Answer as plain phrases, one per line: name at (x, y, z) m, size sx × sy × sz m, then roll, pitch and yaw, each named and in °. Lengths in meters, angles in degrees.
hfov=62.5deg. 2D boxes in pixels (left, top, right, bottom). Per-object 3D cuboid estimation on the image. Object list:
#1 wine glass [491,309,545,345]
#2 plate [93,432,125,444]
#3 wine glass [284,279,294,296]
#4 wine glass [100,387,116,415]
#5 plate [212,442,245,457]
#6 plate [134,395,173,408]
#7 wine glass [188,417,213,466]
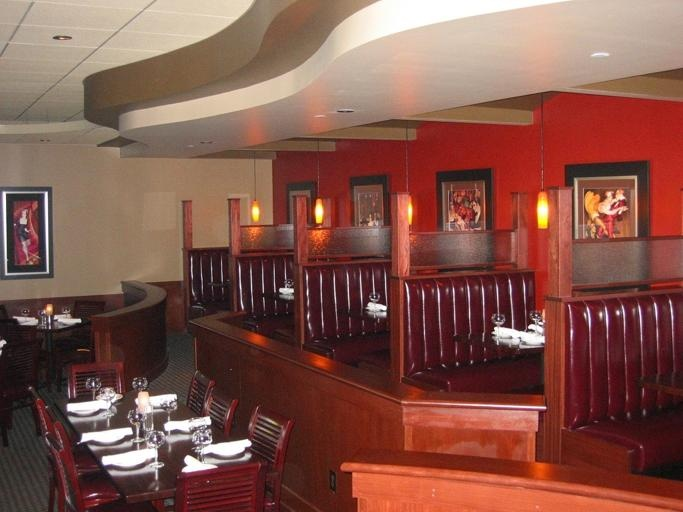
wine glass at (1.521, 0.594, 4.680) m, size 0.383 × 0.152 × 0.272 m, roll 0°, pitch 2°, yaw -34°
plate at (-1.522, 1.206, 3.737) m, size 0.167 × 0.039 × 0.154 m, roll -2°, pitch 3°, yaw 7°
wine glass at (-0.665, 0.438, 7.553) m, size 0.154 × 0.215 × 0.221 m, roll 0°, pitch 1°, yaw -24°
wine glass at (-1.744, 1.092, 4.238) m, size 0.104 × 0.183 × 0.233 m, roll -4°, pitch 3°, yaw -24°
plate at (-0.677, 1.186, 3.464) m, size 0.218 × 0.047 × 0.171 m, roll -2°, pitch 3°, yaw 4°
plate at (-1.346, 1.061, 4.089) m, size 0.303 × 0.063 × 0.235 m, roll 0°, pitch -2°, yaw 6°
wine glass at (-0.854, 1.144, 3.441) m, size 0.178 × 0.331 × 0.183 m, roll 2°, pitch -5°, yaw -6°
